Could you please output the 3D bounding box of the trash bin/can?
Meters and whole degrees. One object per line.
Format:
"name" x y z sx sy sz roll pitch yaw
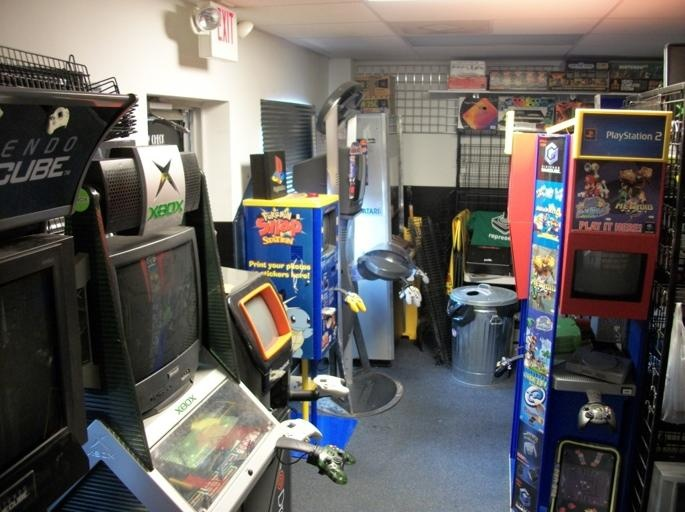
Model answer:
"trash bin/can" 1.348 0.834 5.720 0.912 1.151 0.878 -2 11 -4

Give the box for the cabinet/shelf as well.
"cabinet/shelf" 0.315 -0.115 5.400 0.631 2.794 0.515 0 14 -2

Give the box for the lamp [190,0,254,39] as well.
"lamp" -0.926 -1.793 3.768 0.448 0.244 0.207 -13 33 -35

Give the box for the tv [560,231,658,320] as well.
"tv" 1.569 0.105 2.857 0.403 0.592 0.293 3 15 11

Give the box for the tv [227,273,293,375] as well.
"tv" -0.487 0.413 2.714 0.331 0.535 0.507 2 14 6
